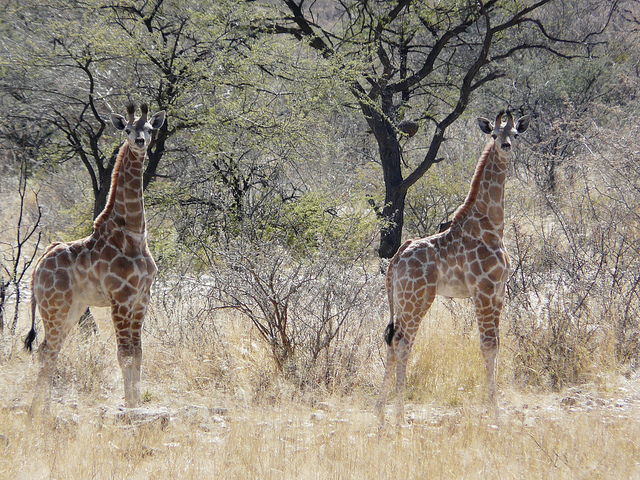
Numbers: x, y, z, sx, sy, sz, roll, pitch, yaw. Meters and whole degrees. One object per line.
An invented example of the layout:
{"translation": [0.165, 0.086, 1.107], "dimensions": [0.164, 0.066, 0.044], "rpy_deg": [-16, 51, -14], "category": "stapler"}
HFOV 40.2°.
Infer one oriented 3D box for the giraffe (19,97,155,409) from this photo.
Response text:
{"translation": [-4.067, 0.418, 16.417], "dimensions": [2.742, 5.442, 1.670], "rpy_deg": [-6, -13, 25], "category": "giraffe"}
